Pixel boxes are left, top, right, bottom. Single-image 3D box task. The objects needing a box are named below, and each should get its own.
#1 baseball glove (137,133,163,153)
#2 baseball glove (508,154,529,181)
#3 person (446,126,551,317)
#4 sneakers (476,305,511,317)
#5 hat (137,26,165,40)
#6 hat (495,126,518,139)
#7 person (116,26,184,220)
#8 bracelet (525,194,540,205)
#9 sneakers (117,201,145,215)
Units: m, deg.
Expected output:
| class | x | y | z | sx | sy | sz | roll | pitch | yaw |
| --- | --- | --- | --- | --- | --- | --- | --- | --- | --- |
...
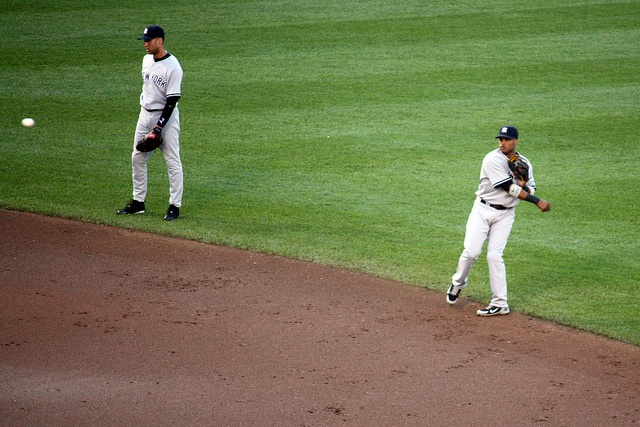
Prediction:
| class | x | y | z | sx | sy | sz | roll | pitch | yaw |
| --- | --- | --- | --- | --- | --- | --- | --- | --- | --- |
| baseball glove | -2.789 | -1.137 | 13.744 | 0.395 | 0.121 | 0.251 | -24 | 31 | 4 |
| baseball glove | 2.807 | -0.654 | 12.127 | 0.331 | 0.382 | 0.141 | 9 | 16 | 9 |
| person | 2.510 | 0.096 | 12.142 | 1.004 | 2.644 | 0.920 | 12 | 16 | 15 |
| sneakers | 2.441 | 1.384 | 12.105 | 0.484 | 0.155 | 0.151 | 2 | 4 | -6 |
| hat | -2.693 | -2.883 | 13.517 | 0.432 | 0.180 | 0.255 | 1 | 21 | -10 |
| hat | 2.659 | -1.168 | 12.156 | 0.247 | 0.163 | 0.268 | 7 | 14 | 4 |
| person | -2.634 | -1.466 | 13.822 | 0.978 | 3.096 | 0.725 | 7 | 16 | -2 |
| bracelet | 2.992 | -0.213 | 12.128 | 0.199 | 0.155 | 0.287 | 8 | 14 | 9 |
| sneakers | -3.078 | -0.089 | 14.032 | 0.515 | 0.187 | 0.169 | 2 | 4 | -19 |
